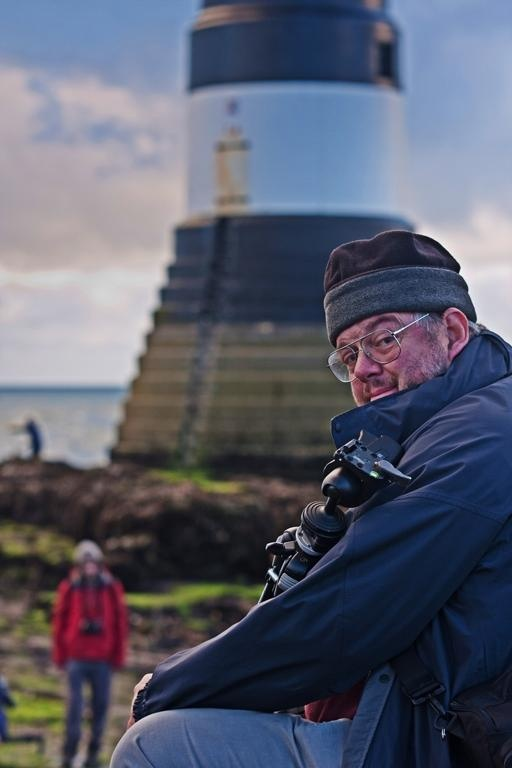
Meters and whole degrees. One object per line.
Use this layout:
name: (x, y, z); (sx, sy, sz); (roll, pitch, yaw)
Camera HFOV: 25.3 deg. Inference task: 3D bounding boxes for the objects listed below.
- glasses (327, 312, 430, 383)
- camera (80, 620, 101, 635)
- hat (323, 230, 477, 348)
glasses: (0.262, -0.068, 2.296); (0.171, 0.044, 0.163); (-25, 2, -41)
camera: (-0.472, 0.677, 3.184); (0.037, 0.048, 0.051); (13, -23, 2)
hat: (0.301, -0.216, 2.344); (0.321, 0.151, 0.290); (-6, -5, 19)
